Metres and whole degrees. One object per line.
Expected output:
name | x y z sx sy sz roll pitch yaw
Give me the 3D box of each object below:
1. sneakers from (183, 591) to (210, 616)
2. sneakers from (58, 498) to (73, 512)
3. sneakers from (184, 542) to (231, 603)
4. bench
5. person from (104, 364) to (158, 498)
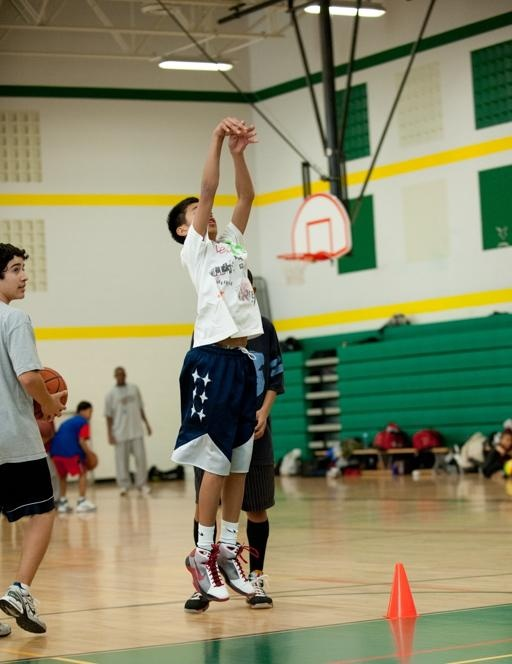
sneakers | -0.221 0.983 2.552 0.049 0.051 0.133 3 1 7
sneakers | -2.234 2.016 8.189 0.090 0.156 0.241 1 9 -4
sneakers | -0.176 0.857 2.449 0.126 0.240 0.210 -4 3 -8
bench | 1.939 1.833 10.195 1.857 0.415 0.392 -5 -15 40
person | -1.955 1.471 10.493 0.640 1.908 0.518 -6 3 -32
